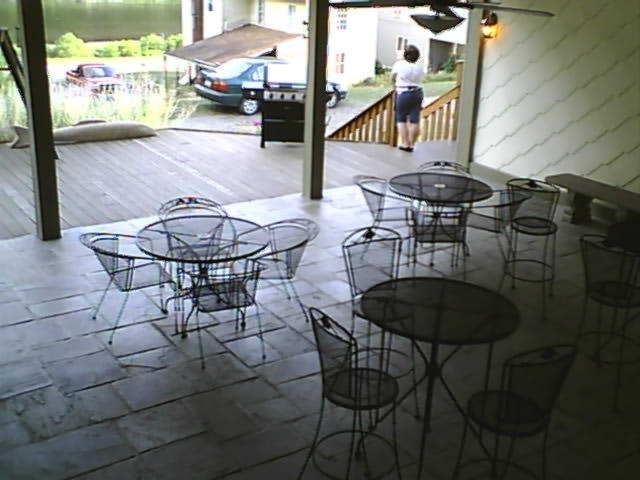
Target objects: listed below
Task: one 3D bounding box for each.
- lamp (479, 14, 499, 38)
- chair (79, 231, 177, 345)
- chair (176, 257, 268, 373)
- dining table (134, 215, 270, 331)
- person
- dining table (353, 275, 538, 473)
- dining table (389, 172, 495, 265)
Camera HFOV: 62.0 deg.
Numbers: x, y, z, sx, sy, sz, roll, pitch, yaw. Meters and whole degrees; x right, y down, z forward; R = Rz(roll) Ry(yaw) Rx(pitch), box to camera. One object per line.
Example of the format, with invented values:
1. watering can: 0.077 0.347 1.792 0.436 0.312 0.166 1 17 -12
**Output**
1. lamp: 2.666 -3.369 8.380 0.277 0.330 0.086 9 23 22
2. chair: -1.801 0.490 5.039 0.789 0.821 0.651 -14 41 -27
3. chair: -0.893 0.501 4.765 0.762 0.818 1.049 -4 24 -14
4. dining table: -1.097 0.389 5.126 1.354 0.835 1.179 -1 29 -12
5. person: 1.636 -2.677 10.167 0.638 1.941 0.451 8 27 11
6. dining table: 0.504 0.883 4.198 1.469 1.331 1.264 -3 30 -5
7. dining table: 1.362 -0.147 6.131 1.302 0.817 1.100 0 39 2
